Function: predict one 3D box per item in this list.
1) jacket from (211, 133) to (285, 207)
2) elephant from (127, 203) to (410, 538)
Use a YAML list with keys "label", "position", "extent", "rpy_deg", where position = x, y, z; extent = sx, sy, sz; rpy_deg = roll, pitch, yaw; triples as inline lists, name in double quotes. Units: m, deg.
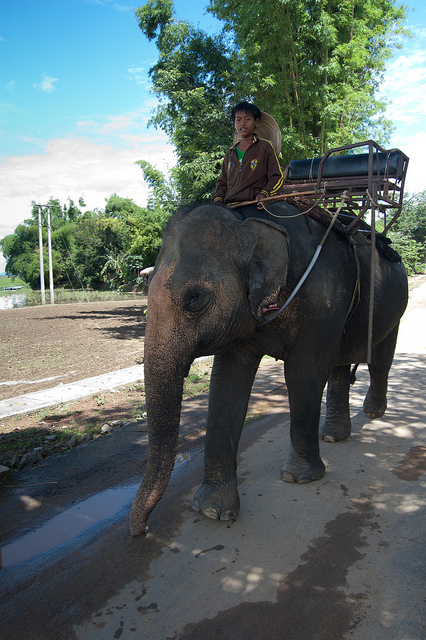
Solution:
- label: "jacket"
  position: [0.169, -0.806, 2.695]
  extent: [0.384, 0.419, 0.401]
  rpy_deg: [-3, 6, 15]
- label: "elephant"
  position: [0.459, 0.123, 3.006]
  extent: [0.776, 1.535, 2.475]
  rpy_deg: [4, 9, 42]
